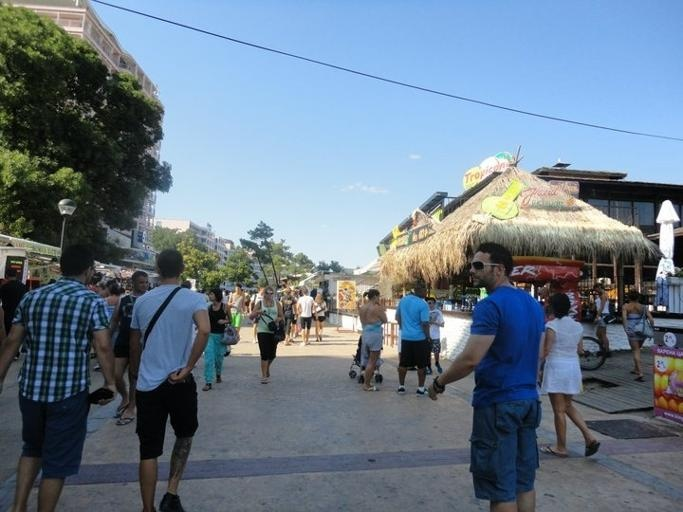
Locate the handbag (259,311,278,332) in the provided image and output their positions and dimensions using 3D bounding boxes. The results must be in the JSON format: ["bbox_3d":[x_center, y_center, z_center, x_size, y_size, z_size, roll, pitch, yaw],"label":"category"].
[{"bbox_3d":[-1.542,1.372,9.888,0.443,0.454,0.291,3,-2,6],"label":"handbag"}]

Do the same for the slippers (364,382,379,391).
[{"bbox_3d":[0.594,2.641,9.580,0.298,0.142,0.147,-2,1,1],"label":"slippers"}]

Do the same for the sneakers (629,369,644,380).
[{"bbox_3d":[6.144,2.486,9.904,0.119,0.132,0.329,0,-2,8],"label":"sneakers"}]

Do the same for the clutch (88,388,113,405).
[{"bbox_3d":[-2.251,1.313,4.447,0.202,0.052,0.215,-36,-42,18],"label":"clutch"}]

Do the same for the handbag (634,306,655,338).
[{"bbox_3d":[6.497,1.440,10.240,0.288,0.764,0.654,-4,-21,37],"label":"handbag"}]

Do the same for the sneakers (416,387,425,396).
[{"bbox_3d":[1.532,2.582,9.126,0.163,0.185,0.393,4,-5,12],"label":"sneakers"}]

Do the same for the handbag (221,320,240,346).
[{"bbox_3d":[-2.303,1.617,9.957,0.317,0.481,0.474,6,-5,-7],"label":"handbag"}]

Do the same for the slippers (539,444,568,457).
[{"bbox_3d":[2.720,2.518,6.136,0.114,0.062,0.246,3,0,-31],"label":"slippers"}]

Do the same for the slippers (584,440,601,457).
[{"bbox_3d":[3.154,2.403,6.014,0.138,0.271,0.085,8,31,-8],"label":"slippers"}]

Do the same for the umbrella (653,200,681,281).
[{"bbox_3d":[9.628,-0.506,14.069,0.494,2.459,1.426,2,-5,35],"label":"umbrella"}]

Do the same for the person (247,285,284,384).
[{"bbox_3d":[-1.650,1.684,10.425,0.738,2.008,1.322,6,-4,-9],"label":"person"}]
